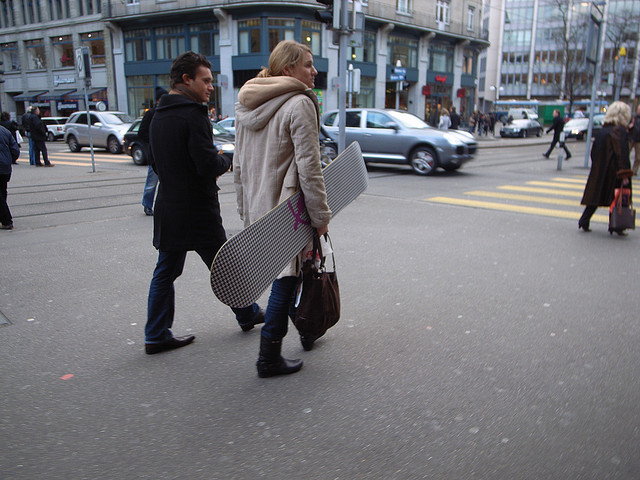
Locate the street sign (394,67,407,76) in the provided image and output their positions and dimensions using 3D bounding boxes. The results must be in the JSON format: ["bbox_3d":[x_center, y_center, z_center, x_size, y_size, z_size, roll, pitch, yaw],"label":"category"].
[{"bbox_3d":[4.209,-8.737,28.389,0.537,0.361,0.870,0,14,-1],"label":"street sign"}]

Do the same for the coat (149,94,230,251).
[{"bbox_3d":[-1.041,-0.517,4.324,0.587,1.213,0.293,-3,12,-13],"label":"coat"}]

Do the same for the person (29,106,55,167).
[{"bbox_3d":[-8.837,-3.214,17.187,0.593,1.934,0.556,-2,7,18],"label":"person"}]

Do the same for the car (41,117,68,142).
[{"bbox_3d":[-15.273,-6.383,31.735,1.828,0.912,0.929,15,21,29],"label":"car"}]

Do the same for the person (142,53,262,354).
[{"bbox_3d":[-0.959,-0.232,4.584,1.029,2.322,0.767,-1,12,-6],"label":"person"}]

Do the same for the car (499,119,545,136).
[{"bbox_3d":[14.089,-7.695,37.961,3.416,1.121,1.223,-11,17,-37],"label":"car"}]

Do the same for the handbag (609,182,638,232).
[{"bbox_3d":[4.462,-0.458,7.936,0.391,0.697,0.256,-7,14,-27],"label":"handbag"}]

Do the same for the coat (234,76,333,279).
[{"bbox_3d":[-0.341,-0.618,4.069,0.867,1.145,0.415,8,15,33],"label":"coat"}]

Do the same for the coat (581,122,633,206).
[{"bbox_3d":[4.297,-1.100,8.075,0.652,1.200,0.477,6,14,27],"label":"coat"}]

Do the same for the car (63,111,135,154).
[{"bbox_3d":[-9.135,-4.422,22.745,1.410,1.738,4.148,-12,18,-41],"label":"car"}]

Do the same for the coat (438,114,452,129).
[{"bbox_3d":[6.137,-5.744,26.657,0.471,0.652,1.807,3,14,12],"label":"coat"}]

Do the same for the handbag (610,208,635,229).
[{"bbox_3d":[4.395,-0.298,7.890,0.226,0.246,0.079,13,36,23],"label":"handbag"}]

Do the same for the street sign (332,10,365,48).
[{"bbox_3d":[0.650,-4.395,11.390,0.094,0.717,0.720,9,10,41],"label":"street sign"}]

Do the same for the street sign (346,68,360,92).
[{"bbox_3d":[1.107,-5.091,17.584,0.384,0.700,1.422,1,14,6],"label":"street sign"}]

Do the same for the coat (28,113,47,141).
[{"bbox_3d":[-8.865,-3.470,17.091,0.469,0.776,0.804,-7,15,-28],"label":"coat"}]
